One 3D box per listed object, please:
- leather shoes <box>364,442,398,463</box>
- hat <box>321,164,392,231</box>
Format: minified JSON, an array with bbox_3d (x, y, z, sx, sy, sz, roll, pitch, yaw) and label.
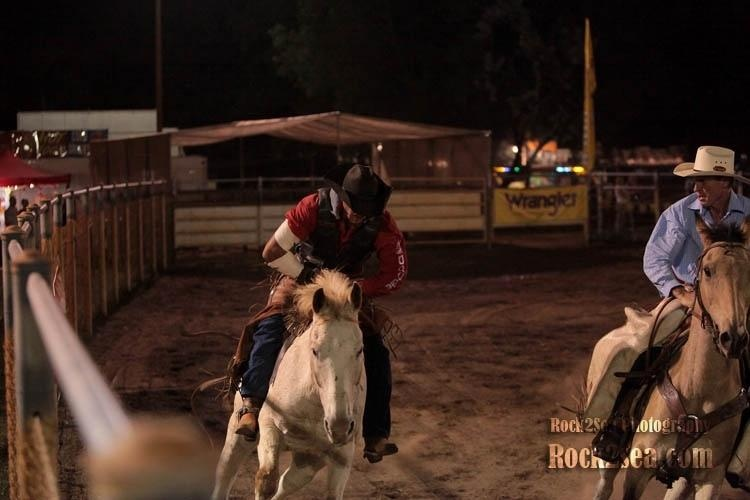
[{"bbox_3d":[0.011,2.155,9.854,0.398,0.159,0.209,-20,4,17],"label":"leather shoes"},{"bbox_3d":[-0.201,-0.609,9.752,0.635,0.558,0.449,6,15,21],"label":"hat"}]
